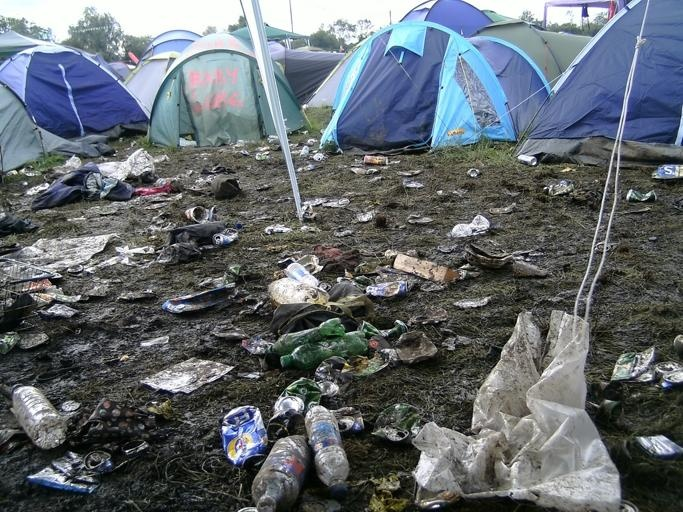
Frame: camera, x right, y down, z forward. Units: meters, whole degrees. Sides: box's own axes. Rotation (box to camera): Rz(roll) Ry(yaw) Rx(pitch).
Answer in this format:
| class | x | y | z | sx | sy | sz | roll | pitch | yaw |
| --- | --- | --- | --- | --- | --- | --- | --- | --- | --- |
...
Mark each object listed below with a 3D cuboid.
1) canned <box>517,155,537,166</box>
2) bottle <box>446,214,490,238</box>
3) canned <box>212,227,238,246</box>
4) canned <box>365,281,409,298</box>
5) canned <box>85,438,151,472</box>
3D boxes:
| class | x | y | z | sx | sy | sz | roll | pitch | yaw |
| --- | --- | --- | --- | --- | --- | --- | --- | --- | --- |
| canned | 2.737 | -1.416 | 6.486 | 0.123 | 0.103 | 0.192 | -22 | 26 | -36 |
| bottle | 1.289 | -0.299 | 4.436 | 0.349 | 0.171 | 0.418 | 6 | 18 | 31 |
| canned | -1.234 | -0.211 | 4.641 | 0.166 | 0.093 | 0.219 | 3 | 19 | 17 |
| canned | 0.354 | 0.265 | 3.431 | 0.233 | 0.051 | 0.165 | -12 | 19 | 12 |
| canned | -1.113 | 0.980 | 2.170 | 0.212 | 0.068 | 0.128 | -6 | 11 | -29 |
